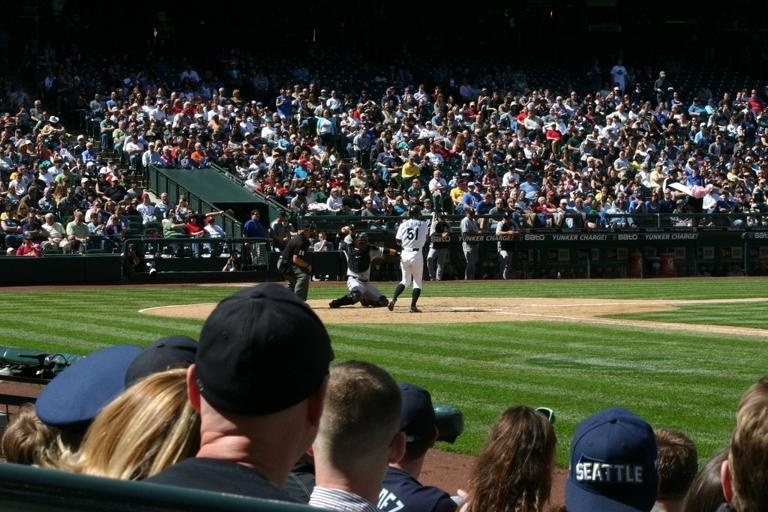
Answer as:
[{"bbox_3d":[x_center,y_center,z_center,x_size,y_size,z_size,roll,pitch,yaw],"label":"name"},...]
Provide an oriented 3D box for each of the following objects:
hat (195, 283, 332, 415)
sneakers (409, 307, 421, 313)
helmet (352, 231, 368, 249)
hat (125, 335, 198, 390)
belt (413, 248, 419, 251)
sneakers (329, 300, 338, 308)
[{"bbox_3d":[-1.189,0.995,10.429,1.156,0.764,1.340,3,33,5],"label":"hat"},{"bbox_3d":[0.725,1.176,22.927,0.294,0.088,0.185,-5,-28,-8],"label":"sneakers"},{"bbox_3d":[-0.516,-0.314,23.367,0.308,0.288,0.402,1,-1,8],"label":"helmet"},{"bbox_3d":[-2.438,1.164,11.397,0.754,0.533,0.552,1,-1,-13],"label":"hat"},{"bbox_3d":[0.706,-0.140,23.023,0.133,0.043,0.043,1,-1,2],"label":"belt"},{"bbox_3d":[-1.127,1.085,23.436,0.135,0.168,0.162,4,9,40],"label":"sneakers"}]
